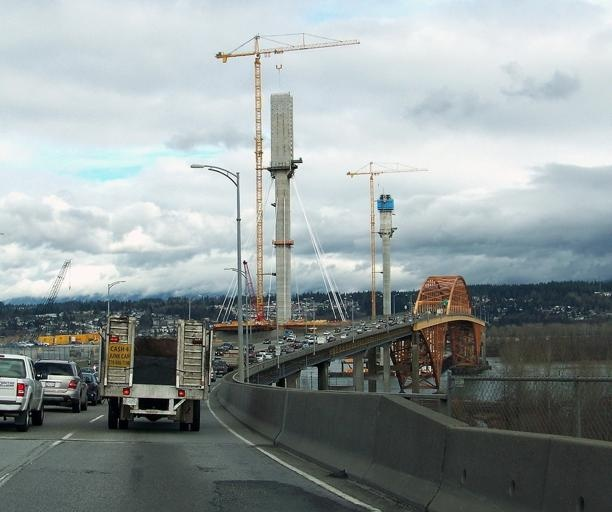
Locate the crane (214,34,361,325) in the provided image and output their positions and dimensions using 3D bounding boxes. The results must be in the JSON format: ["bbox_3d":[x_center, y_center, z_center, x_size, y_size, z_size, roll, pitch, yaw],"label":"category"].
[{"bbox_3d":[0.593,-9.894,142.634,23.456,48.582,19.522,5,-7,-5],"label":"crane"}]

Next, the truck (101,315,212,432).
[{"bbox_3d":[-3.944,2.639,26.019,2.611,2.571,4.315,3,6,-9],"label":"truck"}]
